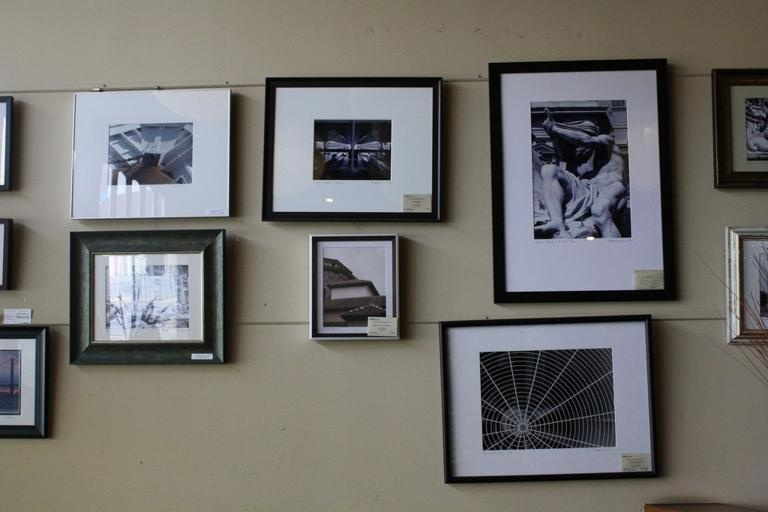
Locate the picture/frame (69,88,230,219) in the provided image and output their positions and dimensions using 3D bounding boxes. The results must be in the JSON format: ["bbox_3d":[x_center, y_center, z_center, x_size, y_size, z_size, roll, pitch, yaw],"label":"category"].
[{"bbox_3d":[-0.942,-0.409,4.274,0.475,0.428,0.038,-1,-3,2],"label":"picture/frame"}]

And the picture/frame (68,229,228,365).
[{"bbox_3d":[-0.950,0.179,4.251,0.491,0.474,0.043,-1,-4,0],"label":"picture/frame"}]

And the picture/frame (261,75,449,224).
[{"bbox_3d":[-0.109,-0.428,4.253,0.536,0.476,0.025,1,-2,-3],"label":"picture/frame"}]

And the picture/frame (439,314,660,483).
[{"bbox_3d":[0.690,0.599,4.214,0.599,0.501,0.024,-2,-1,1],"label":"picture/frame"}]

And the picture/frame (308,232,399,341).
[{"bbox_3d":[-0.111,0.134,4.231,0.382,0.479,0.036,-1,-6,1],"label":"picture/frame"}]
